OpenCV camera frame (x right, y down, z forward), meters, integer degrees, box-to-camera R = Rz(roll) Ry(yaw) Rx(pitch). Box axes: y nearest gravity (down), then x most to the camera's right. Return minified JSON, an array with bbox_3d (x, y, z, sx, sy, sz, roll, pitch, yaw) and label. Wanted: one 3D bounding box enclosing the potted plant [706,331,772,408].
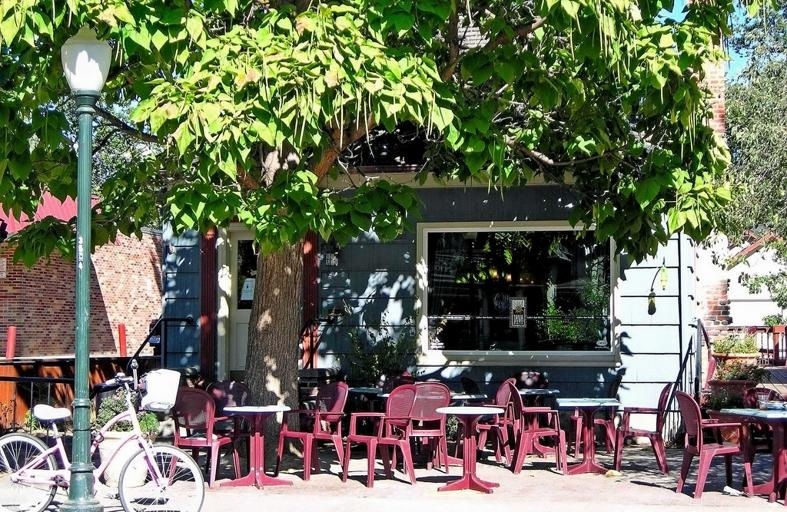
[{"bbox_3d":[6.458,2.335,16.035,0.980,0.923,1.634,-1,0,13],"label":"potted plant"}]
